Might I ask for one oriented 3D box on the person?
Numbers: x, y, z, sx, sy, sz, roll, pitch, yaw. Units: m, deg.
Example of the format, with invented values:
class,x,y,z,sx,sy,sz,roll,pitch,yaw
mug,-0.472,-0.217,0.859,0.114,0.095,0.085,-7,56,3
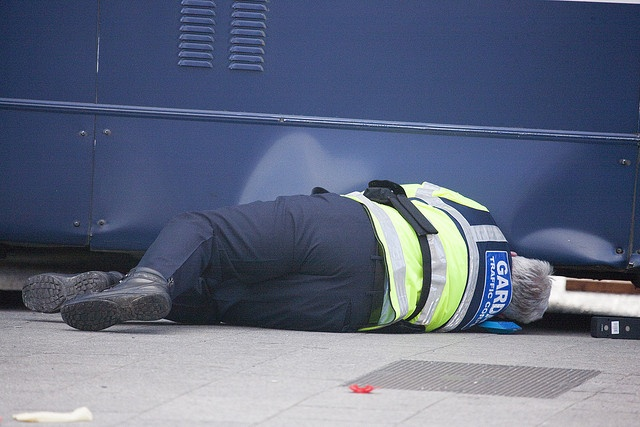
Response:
class,x,y,z,sx,sy,sz,roll,pitch,yaw
person,-0.039,0.259,4.066,3.381,0.929,1.188,2,10,-8
